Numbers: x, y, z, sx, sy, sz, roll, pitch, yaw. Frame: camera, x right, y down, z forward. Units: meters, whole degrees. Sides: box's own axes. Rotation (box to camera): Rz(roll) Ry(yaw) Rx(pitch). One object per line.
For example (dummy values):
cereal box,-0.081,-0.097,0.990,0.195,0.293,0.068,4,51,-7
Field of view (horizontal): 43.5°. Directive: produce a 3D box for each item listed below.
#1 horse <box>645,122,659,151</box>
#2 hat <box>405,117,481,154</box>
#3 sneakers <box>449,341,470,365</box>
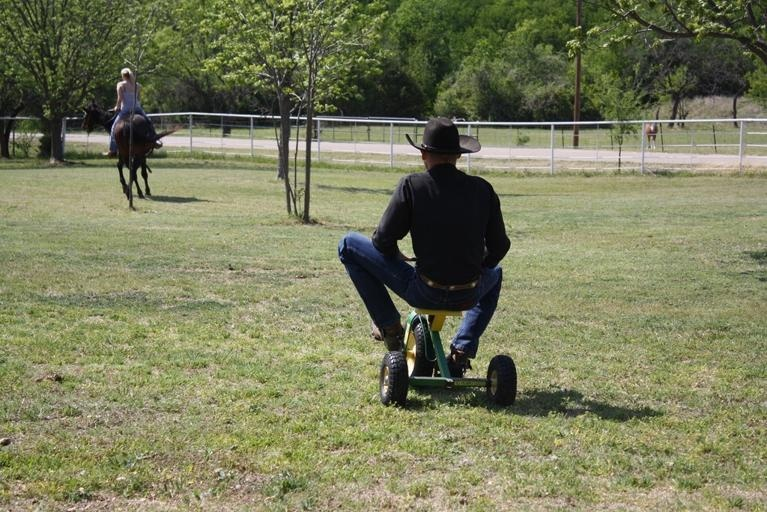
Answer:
horse,12.438,-5.599,44.196,0.444,1.156,3.891,4,12,14
hat,0.791,-1.596,12.507,1.005,0.406,1.090,-6,15,-28
sneakers,1.012,1.295,12.625,0.271,0.300,0.199,7,-7,-14
